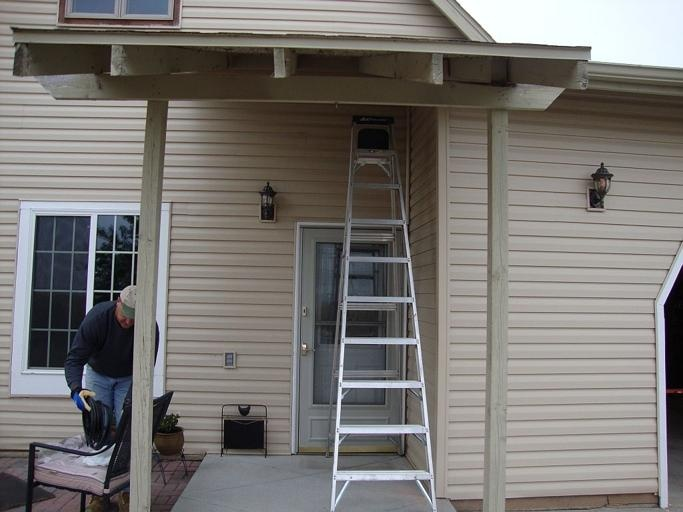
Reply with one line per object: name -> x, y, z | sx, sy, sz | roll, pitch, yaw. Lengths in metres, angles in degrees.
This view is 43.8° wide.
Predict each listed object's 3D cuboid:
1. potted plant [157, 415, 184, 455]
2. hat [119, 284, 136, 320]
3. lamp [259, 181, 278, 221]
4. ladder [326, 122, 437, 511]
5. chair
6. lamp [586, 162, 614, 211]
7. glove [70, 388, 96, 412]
potted plant -> -1.902, 1.940, 9.222 | 0.310, 0.445, 0.312 | -9, 0, -6
hat -> -2.097, 0.444, 8.279 | 0.203, 0.332, 0.117 | 12, -33, -35
lamp -> -0.815, -0.611, 9.481 | 0.190, 0.453, 0.140 | 4, -7, -5
ladder -> 0.473, 0.508, 8.881 | 1.050, 4.119, 1.633 | 3, -7, -1
chair -> -2.252, 1.843, 8.469 | 1.126, 1.658, 1.005 | 3, -6, 11
lamp -> 2.716, -0.726, 8.784 | 0.271, 0.522, 0.173 | 3, -6, 4
glove -> -2.421, 1.379, 7.978 | 0.118, 0.176, 0.237 | -27, -30, -11
